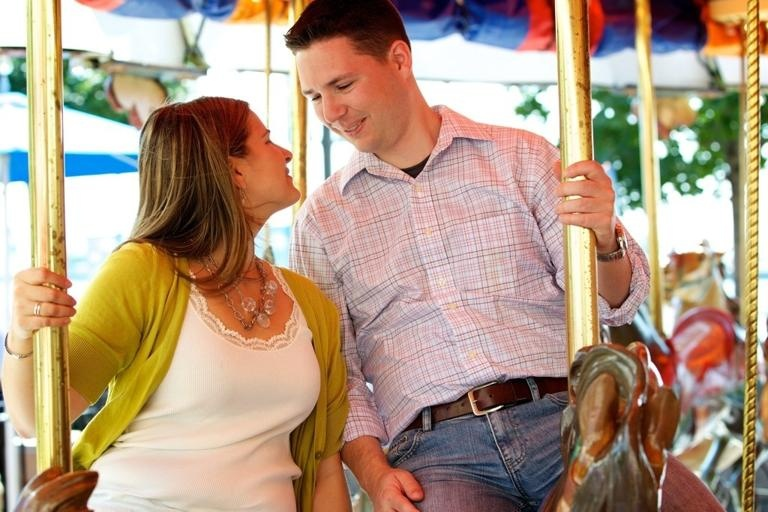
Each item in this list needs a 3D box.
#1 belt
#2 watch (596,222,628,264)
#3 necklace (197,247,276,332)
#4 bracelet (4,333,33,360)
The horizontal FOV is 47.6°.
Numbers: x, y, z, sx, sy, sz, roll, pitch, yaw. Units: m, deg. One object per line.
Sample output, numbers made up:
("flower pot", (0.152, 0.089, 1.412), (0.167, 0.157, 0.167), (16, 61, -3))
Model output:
("belt", (0.363, 0.480, 2.882), (0.473, 0.150, 0.100), (-3, -2, 6))
("watch", (0.689, -0.041, 2.634), (0.044, 0.111, 0.096), (1, -21, -7))
("necklace", (-0.471, 0.122, 2.812), (0.178, 0.258, 0.050), (-27, -2, -42))
("bracelet", (-0.997, 0.236, 2.388), (0.081, 0.083, 0.025), (1, 13, 2))
